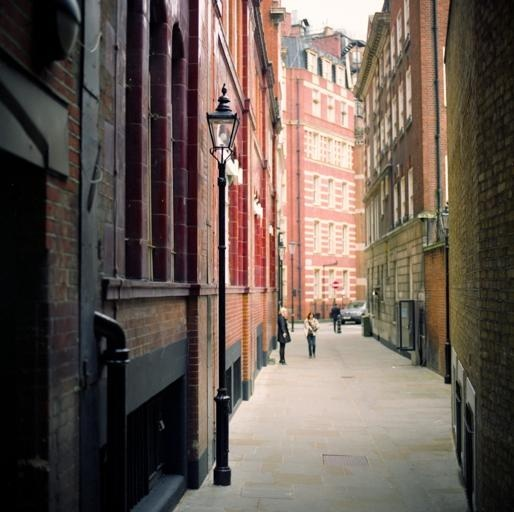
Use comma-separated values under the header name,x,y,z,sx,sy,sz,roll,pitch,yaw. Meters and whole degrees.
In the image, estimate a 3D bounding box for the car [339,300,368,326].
name,x,y,z,sx,sy,sz,roll,pitch,yaw
car,8.156,4.716,50.642,1.848,1.929,3.189,5,-12,-41

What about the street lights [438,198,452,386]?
name,x,y,z,sx,sy,sz,roll,pitch,yaw
street lights,5.507,1.146,17.573,0.423,5.622,0.491,8,-13,-25
